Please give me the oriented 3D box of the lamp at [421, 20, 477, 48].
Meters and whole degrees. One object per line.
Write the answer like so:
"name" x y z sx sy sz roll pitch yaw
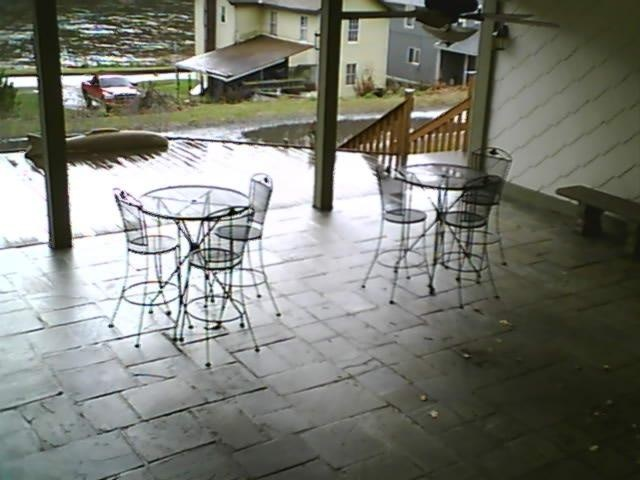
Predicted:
"lamp" 0.929 -1.688 4.226 0.484 0.119 0.301 28 31 17
